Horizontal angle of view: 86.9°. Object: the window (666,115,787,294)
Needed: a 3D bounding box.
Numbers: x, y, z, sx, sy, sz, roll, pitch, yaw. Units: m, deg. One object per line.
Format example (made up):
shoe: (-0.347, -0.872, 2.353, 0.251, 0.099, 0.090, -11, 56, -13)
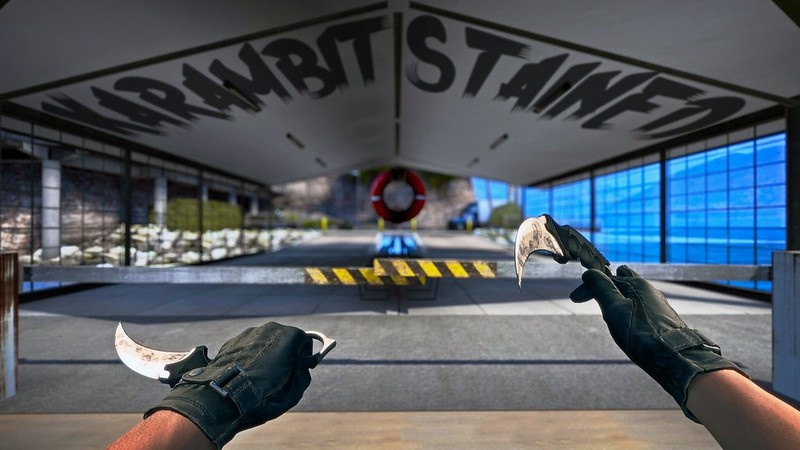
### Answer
window: (9.574, -0.751, 12.363, 0.438, 4.019, 2.847, -5, 9, -36)
